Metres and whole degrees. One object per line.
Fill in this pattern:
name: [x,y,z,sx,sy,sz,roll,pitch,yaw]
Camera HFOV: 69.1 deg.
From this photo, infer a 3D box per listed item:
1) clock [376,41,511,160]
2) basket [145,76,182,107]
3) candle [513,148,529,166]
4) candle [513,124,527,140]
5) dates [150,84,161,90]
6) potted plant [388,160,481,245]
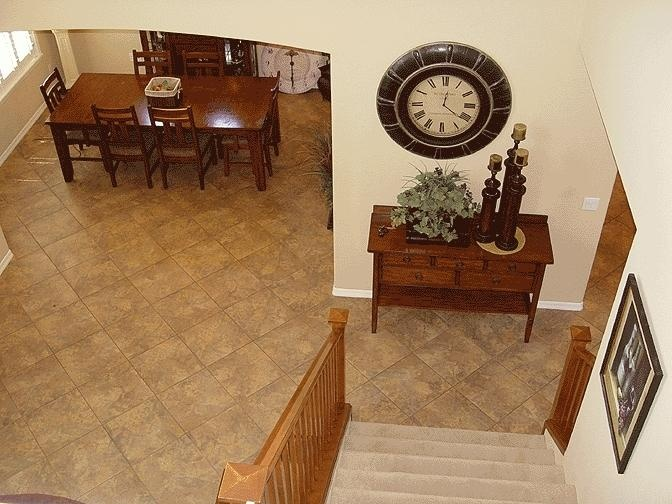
clock: [0.929,-1.328,4.147,1.109,1.139,0.100,-3,42,10]
basket: [-2.359,-2.211,6.679,0.508,0.325,0.517,-1,42,-7]
candle: [1.512,-0.765,3.980,0.099,0.138,0.137,1,7,14]
candle: [1.482,-0.971,3.936,0.085,0.148,0.195,3,8,28]
dates: [-2.455,-2.250,6.668,0.070,0.043,0.118,-1,31,-6]
potted plant: [0.874,-0.404,4.329,0.750,0.548,0.731,2,56,1]
